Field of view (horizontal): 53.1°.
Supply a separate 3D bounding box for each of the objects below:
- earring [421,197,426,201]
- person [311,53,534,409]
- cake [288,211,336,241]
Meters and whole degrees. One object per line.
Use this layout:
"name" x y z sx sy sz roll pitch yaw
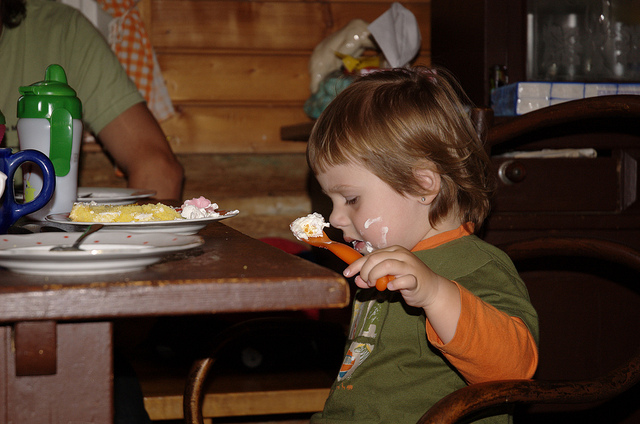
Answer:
"earring" 0.236 -0.030 1.474 0.010 0.009 0.002 1 0 -1
"person" 0.209 0.073 1.444 0.469 0.756 0.681 1 14 -1
"cake" -0.018 0.047 1.410 0.088 0.032 0.076 7 14 28
